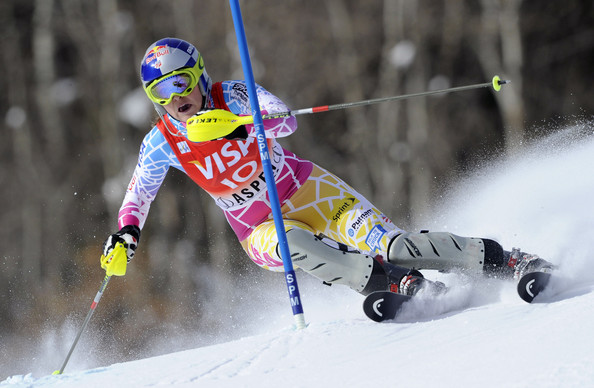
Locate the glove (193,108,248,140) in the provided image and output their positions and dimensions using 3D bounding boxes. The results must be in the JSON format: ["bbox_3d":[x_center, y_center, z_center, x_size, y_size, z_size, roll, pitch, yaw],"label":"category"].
[{"bbox_3d":[-0.551,-0.490,4.911,0.397,0.193,0.148,3,-10,-6],"label":"glove"}]

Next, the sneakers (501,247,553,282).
[{"bbox_3d":[1.667,0.499,4.959,0.326,0.202,0.140,14,-26,22],"label":"sneakers"}]

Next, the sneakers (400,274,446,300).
[{"bbox_3d":[0.911,0.643,4.865,0.256,0.110,0.158,11,6,39],"label":"sneakers"}]
